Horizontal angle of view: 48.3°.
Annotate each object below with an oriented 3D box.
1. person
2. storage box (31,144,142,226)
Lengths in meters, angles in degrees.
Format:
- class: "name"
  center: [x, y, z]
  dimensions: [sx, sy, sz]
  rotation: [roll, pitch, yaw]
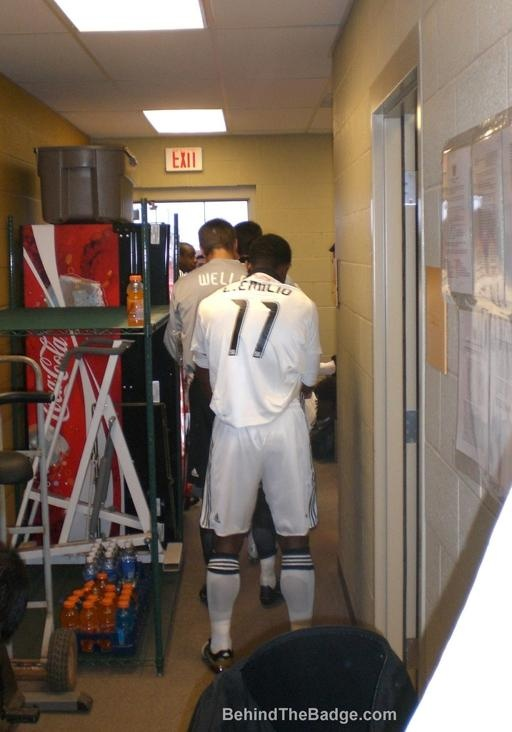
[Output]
- class: "person"
  center: [0.002, 0.460, 2.343]
  dimensions: [0.525, 1.631, 0.434]
  rotation: [-1, 10, 5]
- class: "storage box"
  center: [-0.966, -1.049, 3.291]
  dimensions: [0.347, 0.391, 0.512]
  rotation: [0, 5, 3]
